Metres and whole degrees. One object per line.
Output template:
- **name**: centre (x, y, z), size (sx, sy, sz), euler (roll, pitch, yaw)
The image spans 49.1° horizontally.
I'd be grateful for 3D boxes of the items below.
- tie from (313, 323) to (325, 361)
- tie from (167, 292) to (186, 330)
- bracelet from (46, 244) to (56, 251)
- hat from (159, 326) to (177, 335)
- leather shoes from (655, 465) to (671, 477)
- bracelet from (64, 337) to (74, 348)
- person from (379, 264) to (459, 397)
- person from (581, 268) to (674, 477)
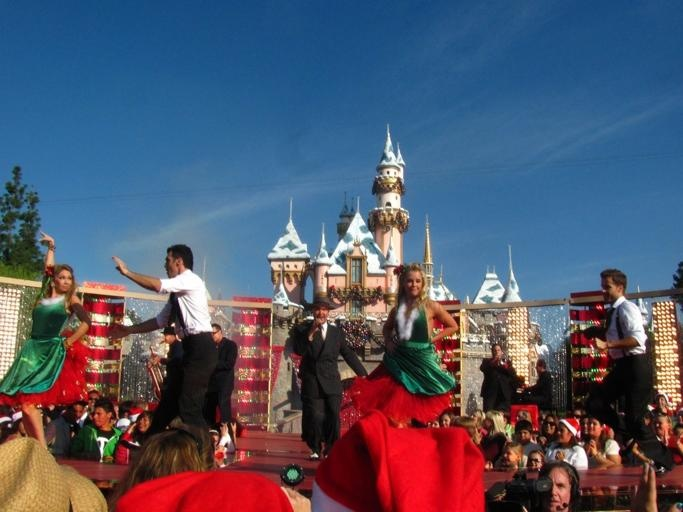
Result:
- **tie**: centre (-0.301, 1.216, 10.798), size (0.229, 0.415, 0.110), euler (3, -3, -4)
- **tie**: centre (-1.839, 0.619, 8.344), size (0.106, 0.362, 0.239), euler (-8, 9, -17)
- **bracelet**: centre (-3.102, -0.094, 7.989), size (0.092, 0.078, 0.099), euler (-1, 1, 4)
- **hat**: centre (-1.941, 0.848, 8.458), size (0.129, 0.060, 0.154), euler (-1, -2, 5)
- **leather shoes**: centre (3.555, 2.368, 8.287), size (0.137, 0.073, 0.171), euler (-1, -3, 18)
- **bracelet**: centre (-3.271, 1.031, 8.966), size (0.066, 0.079, 0.243), euler (-21, -6, -45)
- **person**: centre (0.940, 0.884, 9.046), size (0.871, 1.598, 0.378), euler (-2, -11, 3)
- **person**: centre (3.216, 1.268, 8.481), size (0.808, 2.258, 0.593), euler (-6, -12, 24)
